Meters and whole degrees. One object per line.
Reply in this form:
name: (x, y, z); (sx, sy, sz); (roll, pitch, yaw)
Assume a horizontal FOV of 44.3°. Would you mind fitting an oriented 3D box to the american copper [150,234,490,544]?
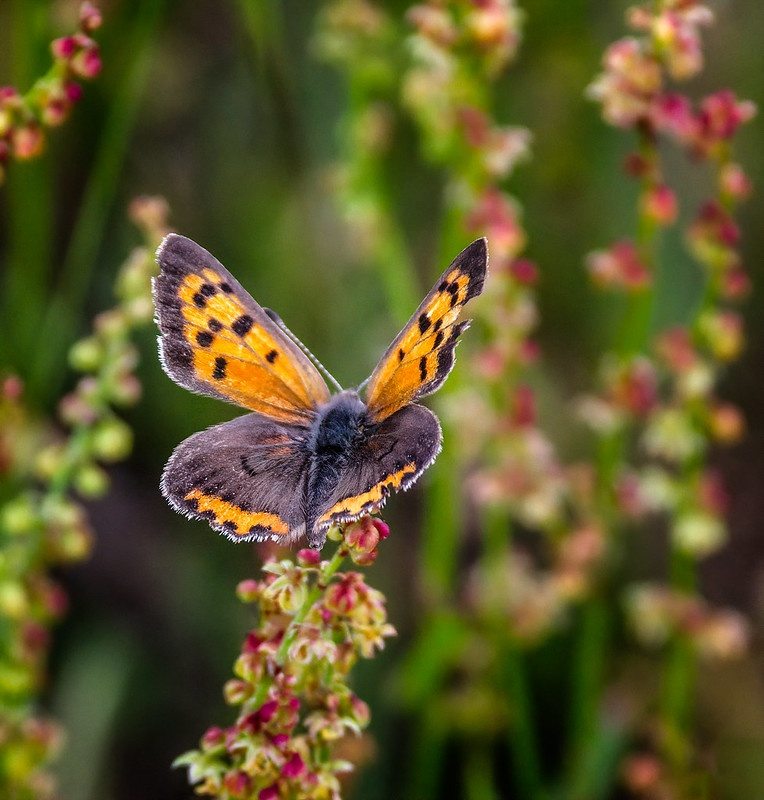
american copper: (-0.072, -0.002, 0.945); (0.324, 0.236, 0.290); (5, 82, 0)
